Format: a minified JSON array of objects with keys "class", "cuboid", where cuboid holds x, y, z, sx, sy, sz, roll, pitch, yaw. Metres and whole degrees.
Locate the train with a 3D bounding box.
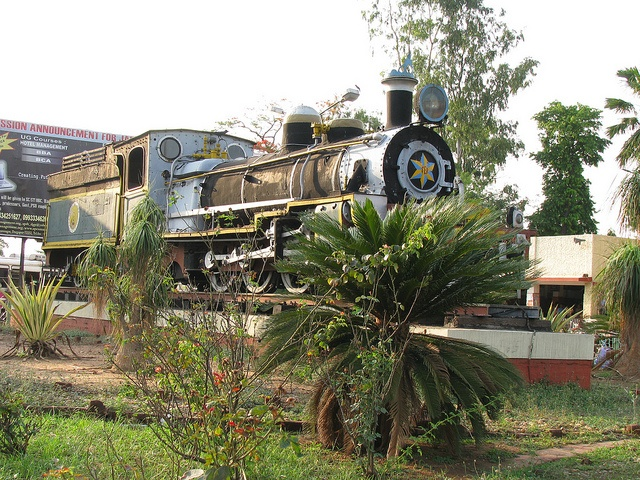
[{"class":"train","cuboid":[-2.261,-1.179,14.395,11.503,4.264,3.243,-3,-2,42]}]
